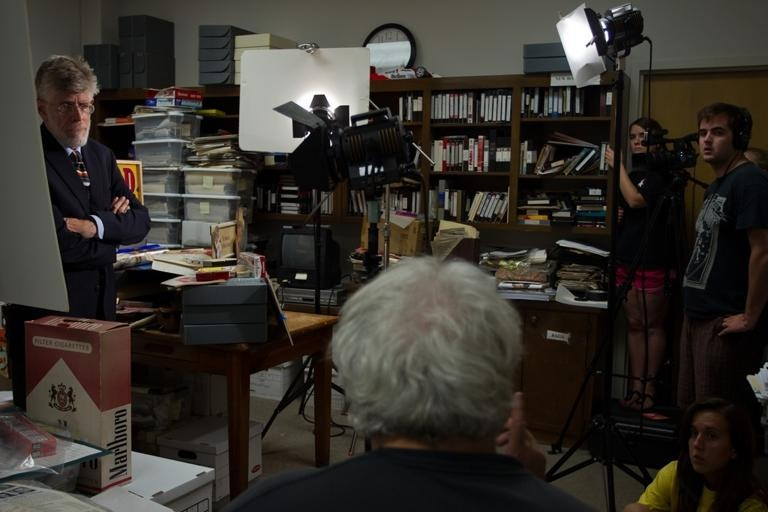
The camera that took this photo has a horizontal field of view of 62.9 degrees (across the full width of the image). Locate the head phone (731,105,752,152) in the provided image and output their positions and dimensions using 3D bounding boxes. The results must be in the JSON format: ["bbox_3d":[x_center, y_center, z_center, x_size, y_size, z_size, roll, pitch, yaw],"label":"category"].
[{"bbox_3d":[1.873,-0.667,3.291,0.083,0.226,0.203,5,12,27],"label":"head phone"}]

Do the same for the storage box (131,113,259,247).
[{"bbox_3d":[-1.468,-0.584,4.817,1.050,0.937,0.619,5,9,22],"label":"storage box"}]

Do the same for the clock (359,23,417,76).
[{"bbox_3d":[0.049,-1.678,5.175,0.491,0.444,0.044,7,11,28],"label":"clock"}]

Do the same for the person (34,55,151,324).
[{"bbox_3d":[-1.386,-0.322,3.028,0.335,1.220,0.518,8,14,40],"label":"person"}]

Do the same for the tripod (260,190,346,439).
[{"bbox_3d":[-0.471,0.315,4.533,0.802,1.846,0.613,11,-24,-23],"label":"tripod"}]

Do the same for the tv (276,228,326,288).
[{"bbox_3d":[-0.610,-0.031,4.939,0.379,0.452,0.360,8,15,20],"label":"tv"}]
